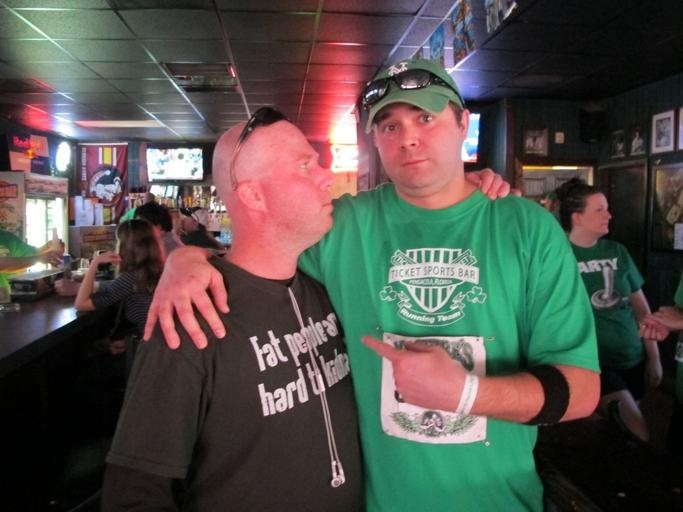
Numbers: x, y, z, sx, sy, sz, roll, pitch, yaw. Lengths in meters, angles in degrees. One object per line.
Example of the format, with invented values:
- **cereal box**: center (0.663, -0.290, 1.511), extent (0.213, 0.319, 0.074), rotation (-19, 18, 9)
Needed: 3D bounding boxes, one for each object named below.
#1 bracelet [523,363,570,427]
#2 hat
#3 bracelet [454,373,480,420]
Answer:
- **bracelet**: center (0.775, 0.507, 1.836), extent (0.131, 0.190, 0.189), rotation (-45, 11, 46)
- **hat**: center (0.343, -0.687, 2.087), extent (0.290, 0.198, 0.364), rotation (-13, 4, 34)
- **bracelet**: center (0.458, 0.505, 1.754), extent (0.029, 0.122, 0.121), rotation (17, -29, 13)
